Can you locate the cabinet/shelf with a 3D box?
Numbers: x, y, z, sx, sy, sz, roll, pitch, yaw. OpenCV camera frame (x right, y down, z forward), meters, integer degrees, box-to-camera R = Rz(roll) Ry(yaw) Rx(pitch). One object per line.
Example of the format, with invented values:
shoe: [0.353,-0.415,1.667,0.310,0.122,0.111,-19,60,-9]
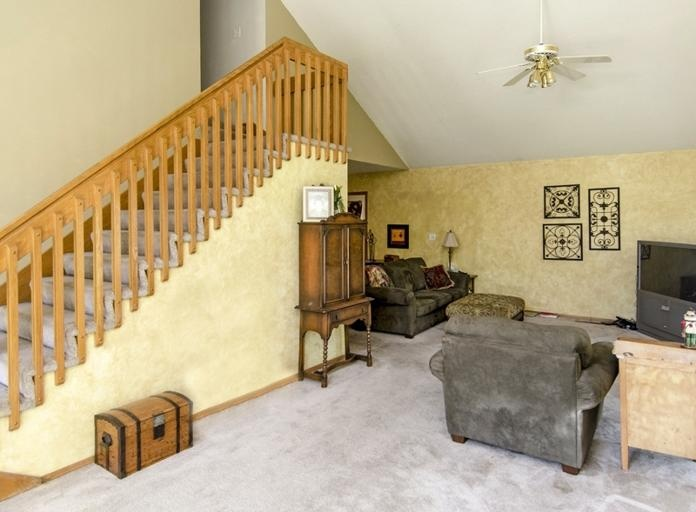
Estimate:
cabinet/shelf: [-0.165,0.441,5.893,0.437,1.780,0.840,1,4,38]

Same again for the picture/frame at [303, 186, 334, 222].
picture/frame: [-0.337,-0.538,5.697,0.416,0.428,0.045,-3,2,-39]

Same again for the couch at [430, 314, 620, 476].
couch: [1.530,0.936,4.607,1.680,1.187,1.137,2,8,33]

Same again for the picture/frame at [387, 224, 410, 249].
picture/frame: [0.964,-0.372,10.242,0.485,0.468,0.039,1,1,39]

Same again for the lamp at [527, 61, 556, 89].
lamp: [1.928,-1.785,5.374,0.223,0.198,0.341,-1,2,6]
